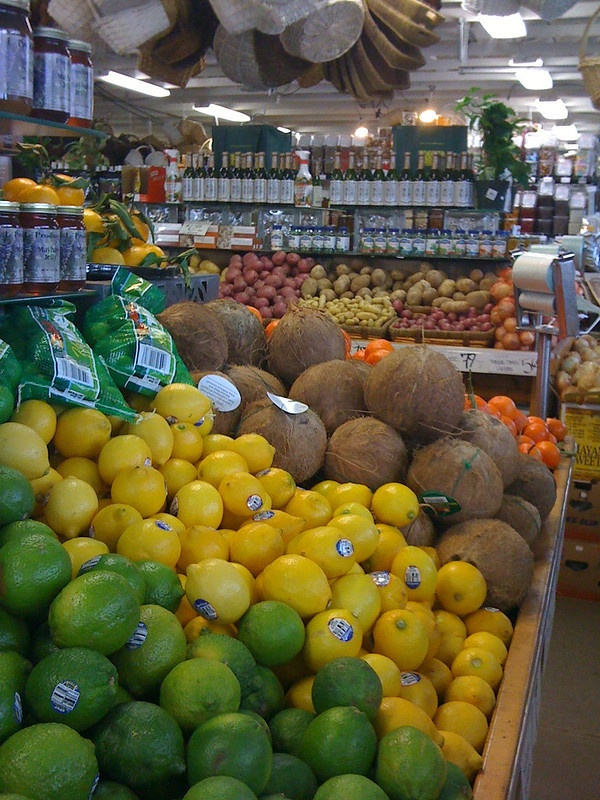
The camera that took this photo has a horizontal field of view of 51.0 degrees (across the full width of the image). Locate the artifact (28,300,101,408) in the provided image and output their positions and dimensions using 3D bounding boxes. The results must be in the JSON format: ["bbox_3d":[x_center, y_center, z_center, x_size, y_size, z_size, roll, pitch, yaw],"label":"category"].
[{"bbox_3d":[-0.554,-0.108,1.422,0.171,0.068,0.256,9,44,-45],"label":"artifact"}]

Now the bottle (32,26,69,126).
[{"bbox_3d":[-0.641,-0.836,1.628,0.056,0.221,0.111,9,14,27],"label":"bottle"}]

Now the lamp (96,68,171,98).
[{"bbox_3d":[-2.642,-4.934,9.775,0.504,0.256,1.745,6,13,15],"label":"lamp"}]

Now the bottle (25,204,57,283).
[{"bbox_3d":[-0.602,-0.355,1.466,0.033,0.194,0.085,11,15,36],"label":"bottle"}]

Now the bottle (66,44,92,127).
[{"bbox_3d":[-0.613,-0.877,1.742,0.047,0.238,0.157,1,12,-8],"label":"bottle"}]

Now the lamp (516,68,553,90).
[{"bbox_3d":[3.406,-4.676,9.088,0.398,0.203,0.653,10,14,31],"label":"lamp"}]
